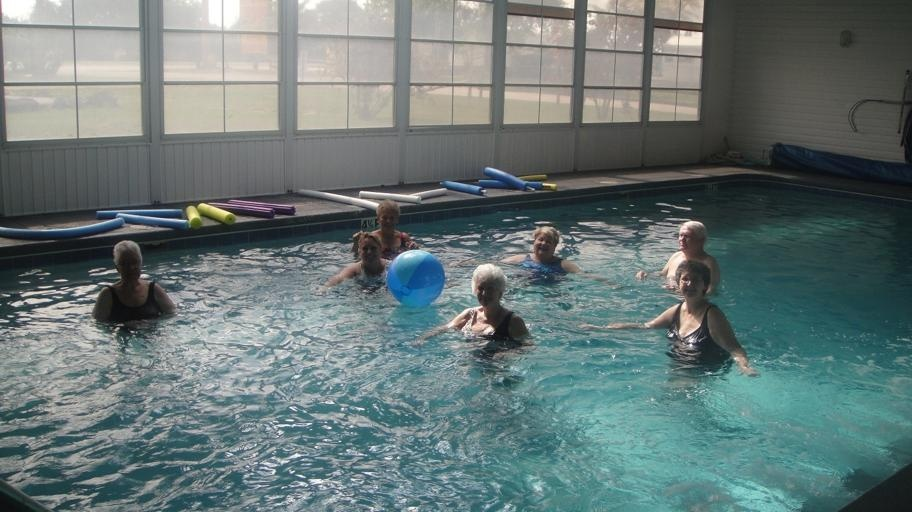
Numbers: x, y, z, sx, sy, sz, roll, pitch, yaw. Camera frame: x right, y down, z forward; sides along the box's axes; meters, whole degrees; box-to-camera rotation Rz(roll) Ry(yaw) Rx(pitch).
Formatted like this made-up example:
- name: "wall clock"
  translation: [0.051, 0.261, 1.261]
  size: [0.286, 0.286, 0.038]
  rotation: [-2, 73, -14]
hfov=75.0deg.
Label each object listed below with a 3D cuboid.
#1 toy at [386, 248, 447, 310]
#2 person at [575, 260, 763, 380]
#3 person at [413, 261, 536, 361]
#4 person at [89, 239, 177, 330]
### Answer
- name: "toy"
  translation: [-0.461, 0.295, 7.213]
  size: [0.829, 0.732, 0.728]
  rotation: [-13, 12, -6]
- name: "person"
  translation: [2.460, 0.593, 6.336]
  size: [0.406, 1.127, 1.350]
  rotation: [-12, 15, -33]
- name: "person"
  translation: [0.231, 0.538, 6.789]
  size: [1.643, 1.098, 0.970]
  rotation: [4, 6, 33]
- name: "person"
  translation: [-3.614, 0.339, 6.660]
  size: [1.037, 0.770, 0.605]
  rotation: [-2, -2, -37]
